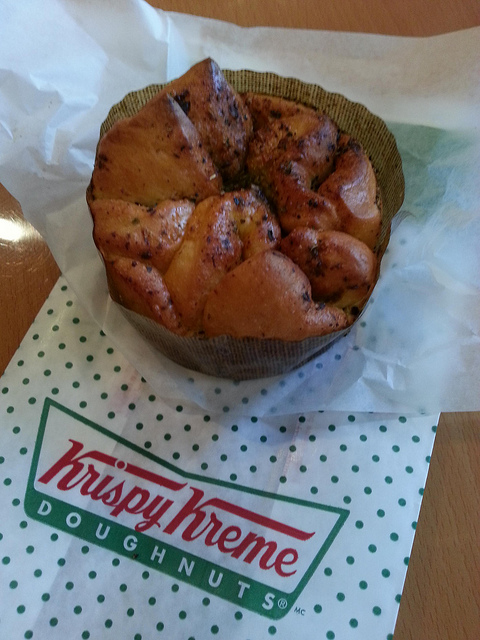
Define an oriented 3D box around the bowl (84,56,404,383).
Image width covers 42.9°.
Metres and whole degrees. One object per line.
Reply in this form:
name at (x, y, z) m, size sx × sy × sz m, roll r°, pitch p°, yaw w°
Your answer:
bowl at (0.002, -0.114, 0.753) m, size 0.370 × 0.157 × 0.401 m, roll 1°, pitch 59°, yaw -2°
